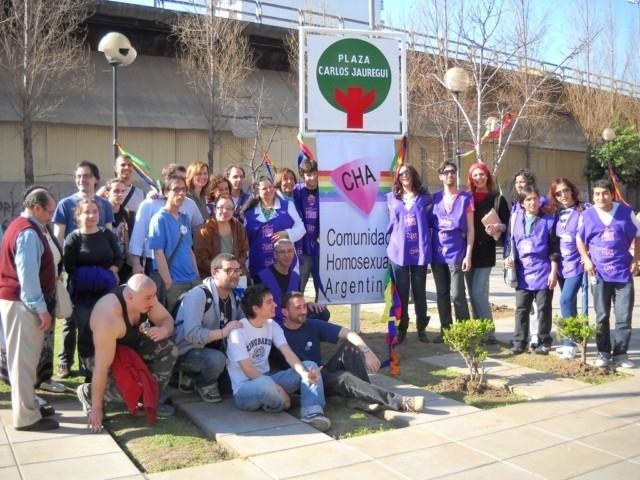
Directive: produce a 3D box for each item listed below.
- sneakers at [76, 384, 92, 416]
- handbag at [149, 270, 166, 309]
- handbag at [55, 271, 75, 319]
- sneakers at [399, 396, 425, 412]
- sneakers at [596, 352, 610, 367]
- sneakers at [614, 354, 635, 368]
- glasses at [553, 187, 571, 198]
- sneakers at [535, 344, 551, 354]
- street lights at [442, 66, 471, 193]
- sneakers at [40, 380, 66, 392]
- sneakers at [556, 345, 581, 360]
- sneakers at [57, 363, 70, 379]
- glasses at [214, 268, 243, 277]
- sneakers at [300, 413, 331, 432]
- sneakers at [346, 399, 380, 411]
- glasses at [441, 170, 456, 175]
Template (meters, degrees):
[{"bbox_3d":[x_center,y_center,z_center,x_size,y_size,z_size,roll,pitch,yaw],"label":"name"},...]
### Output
[{"bbox_3d":[-2.570,1.746,7.544,0.145,0.336,0.106,-8,4,22],"label":"sneakers"},{"bbox_3d":[-2.038,0.614,8.737,0.110,0.437,0.291,-7,12,-34],"label":"handbag"},{"bbox_3d":[-2.876,0.628,7.799,0.263,0.661,0.514,-1,-6,-15],"label":"handbag"},{"bbox_3d":[0.998,1.786,7.547,0.131,0.123,0.310,2,-10,-36],"label":"sneakers"},{"bbox_3d":[3.645,1.550,8.964,0.104,0.142,0.341,-1,-19,26],"label":"sneakers"},{"bbox_3d":[3.922,1.577,8.955,0.116,0.104,0.236,-3,-5,-5],"label":"sneakers"},{"bbox_3d":[3.283,-0.661,9.384,0.211,0.124,0.115,4,11,21],"label":"glasses"},{"bbox_3d":[3.039,1.493,9.502,0.160,0.082,0.116,6,-8,-34],"label":"sneakers"},{"bbox_3d":[3.181,-2.536,16.059,0.650,2.890,0.685,0,5,39],"label":"street lights"},{"bbox_3d":[-3.137,1.729,8.140,0.258,0.119,0.136,3,0,0],"label":"sneakers"},{"bbox_3d":[3.296,1.489,9.289,0.218,0.184,0.240,-2,4,-9],"label":"sneakers"},{"bbox_3d":[-3.201,1.620,8.653,0.139,0.191,0.172,-3,11,-17],"label":"sneakers"},{"bbox_3d":[-1.072,0.365,8.037,0.258,0.113,0.131,-4,11,-18],"label":"glasses"},{"bbox_3d":[-0.051,1.913,7.341,0.293,0.139,0.133,8,-14,39],"label":"sneakers"},{"bbox_3d":[0.473,1.854,7.766,0.435,0.101,0.106,9,13,38],"label":"sneakers"},{"bbox_3d":[1.798,-0.956,9.713,0.186,0.066,0.087,1,10,5],"label":"glasses"}]
